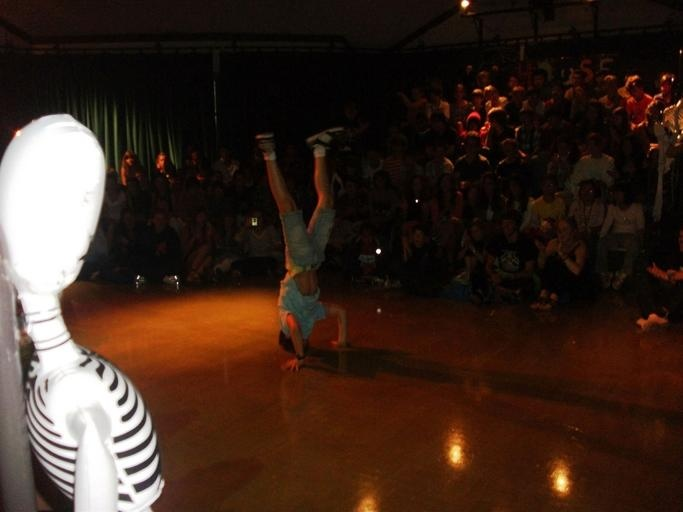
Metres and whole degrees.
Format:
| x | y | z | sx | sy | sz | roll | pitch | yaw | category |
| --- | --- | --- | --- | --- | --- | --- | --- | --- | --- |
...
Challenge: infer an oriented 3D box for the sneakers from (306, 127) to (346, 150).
| x | y | z | sx | sy | sz | roll | pitch | yaw | category |
| --- | --- | --- | --- | --- | --- | --- | --- | --- | --- |
| -0.117 | -0.882 | 4.048 | 0.218 | 0.072 | 0.183 | -13 | 2 | 17 | sneakers |

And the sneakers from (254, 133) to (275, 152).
| x | y | z | sx | sy | sz | roll | pitch | yaw | category |
| --- | --- | --- | --- | --- | --- | --- | --- | --- | --- |
| -0.535 | -0.794 | 3.806 | 0.118 | 0.129 | 0.181 | -4 | 10 | -11 | sneakers |

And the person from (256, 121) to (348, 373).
| x | y | z | sx | sy | sz | roll | pitch | yaw | category |
| --- | --- | --- | --- | --- | --- | --- | --- | --- | --- |
| -0.278 | -0.061 | 4.182 | 0.698 | 1.782 | 0.528 | -4 | 11 | -15 | person |
